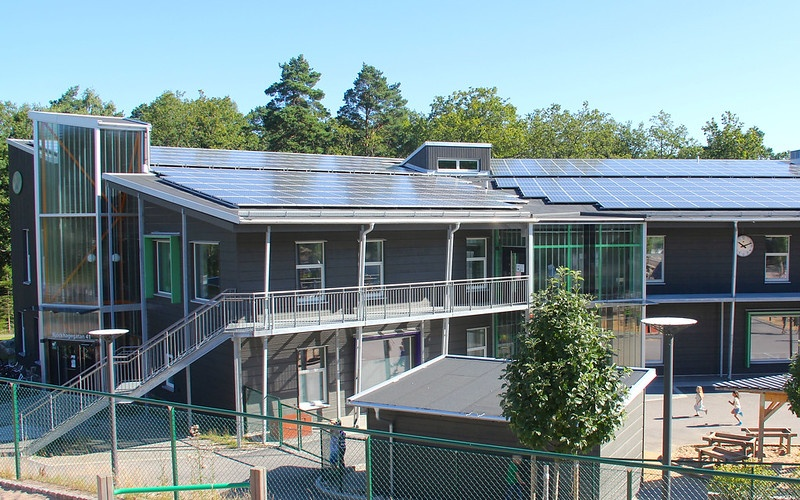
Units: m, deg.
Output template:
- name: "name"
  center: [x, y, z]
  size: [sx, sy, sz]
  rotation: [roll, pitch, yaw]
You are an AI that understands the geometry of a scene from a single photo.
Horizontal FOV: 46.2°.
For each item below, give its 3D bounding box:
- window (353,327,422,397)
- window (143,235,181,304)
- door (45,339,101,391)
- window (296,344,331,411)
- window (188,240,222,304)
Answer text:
- name: "window"
  center: [-0.626, 4.274, 35.915]
  size: [2.899, 2.672, 0.202]
  rotation: [-3, 3, -31]
- name: "window"
  center: [-9.561, 0.676, 37.822]
  size: [2.836, 2.997, 0.816]
  rotation: [-4, -6, 44]
- name: "door"
  center: [-13.786, 4.643, 39.518]
  size: [2.781, 1.915, 0.222]
  rotation: [-1, 4, 26]
- name: "window"
  center: [-3.474, 4.926, 36.372]
  size: [1.500, 2.333, 0.395]
  rotation: [0, -2, -42]
- name: "window"
  center: [-7.551, 0.835, 36.430]
  size: [2.565, 2.960, 0.243]
  rotation: [-2, -4, 32]
